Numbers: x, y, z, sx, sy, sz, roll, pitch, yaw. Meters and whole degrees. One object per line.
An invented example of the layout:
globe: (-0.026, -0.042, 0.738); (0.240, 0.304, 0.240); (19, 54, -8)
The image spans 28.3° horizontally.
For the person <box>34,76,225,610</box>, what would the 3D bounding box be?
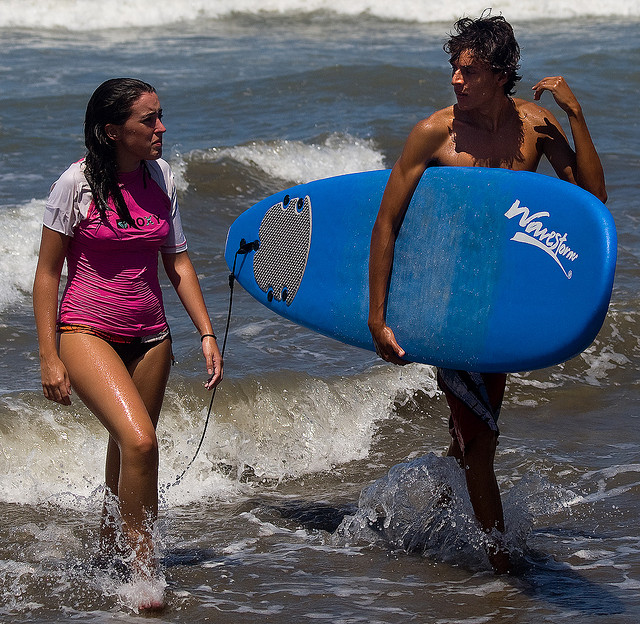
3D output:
person: (-0.785, 0.116, 5.274); (0.545, 2.131, 0.703); (6, 17, 25)

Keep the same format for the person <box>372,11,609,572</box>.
person: (0.732, -0.069, 5.500); (0.964, 2.382, 0.619); (1, 16, 10)
